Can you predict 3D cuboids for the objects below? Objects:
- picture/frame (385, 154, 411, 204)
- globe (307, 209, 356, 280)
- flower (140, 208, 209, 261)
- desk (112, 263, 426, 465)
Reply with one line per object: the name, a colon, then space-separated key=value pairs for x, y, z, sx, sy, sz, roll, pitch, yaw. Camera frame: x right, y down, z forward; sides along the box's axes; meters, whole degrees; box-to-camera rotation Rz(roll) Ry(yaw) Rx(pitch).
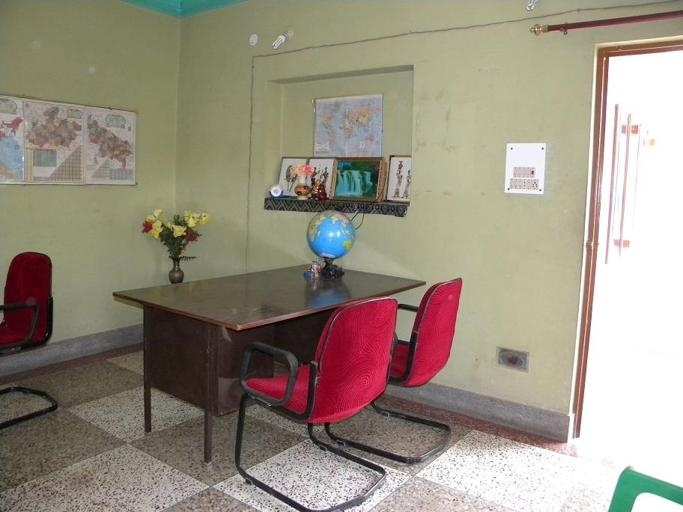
picture/frame: x=0.499 y=-0.648 z=4.486 sx=0.182 sy=0.376 sz=0.387 roll=-7 pitch=16 yaw=-28
globe: x=-0.106 y=-0.096 z=4.288 sx=0.501 sy=0.700 sz=0.456 roll=0 pitch=4 yaw=-14
flower: x=-1.642 y=-0.253 z=5.298 sx=0.416 sy=0.611 sz=0.525 roll=10 pitch=9 yaw=42
desk: x=-0.644 y=0.438 z=3.745 sx=1.188 sy=1.075 sz=2.873 roll=7 pitch=8 yaw=35
